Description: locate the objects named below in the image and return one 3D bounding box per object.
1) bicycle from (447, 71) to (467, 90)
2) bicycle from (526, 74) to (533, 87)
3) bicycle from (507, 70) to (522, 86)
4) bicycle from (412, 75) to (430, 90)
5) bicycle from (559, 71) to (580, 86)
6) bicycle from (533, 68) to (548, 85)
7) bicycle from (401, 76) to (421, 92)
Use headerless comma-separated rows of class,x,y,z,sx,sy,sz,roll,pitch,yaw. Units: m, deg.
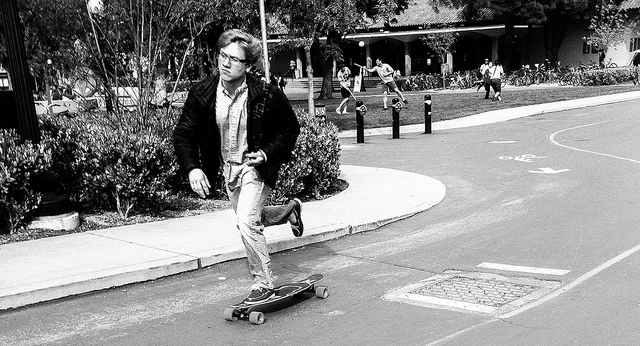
bicycle,10.185,-6.854,46.848,1.095,1.086,0.552,6,5,25
bicycle,15.244,-6.795,46.241,0.404,0.733,0.441,3,16,22
bicycle,14.412,-6.929,46.860,0.986,0.823,1.381,-7,15,-18
bicycle,7.817,-6.830,48.031,0.983,0.591,1.031,9,5,24
bicycle,17.202,-6.458,43.839,1.262,0.753,0.635,2,22,35
bicycle,16.128,-7.050,46.678,0.623,0.914,1.520,5,16,29
bicycle,6.953,-6.637,48.187,1.228,0.692,1.244,3,52,9
